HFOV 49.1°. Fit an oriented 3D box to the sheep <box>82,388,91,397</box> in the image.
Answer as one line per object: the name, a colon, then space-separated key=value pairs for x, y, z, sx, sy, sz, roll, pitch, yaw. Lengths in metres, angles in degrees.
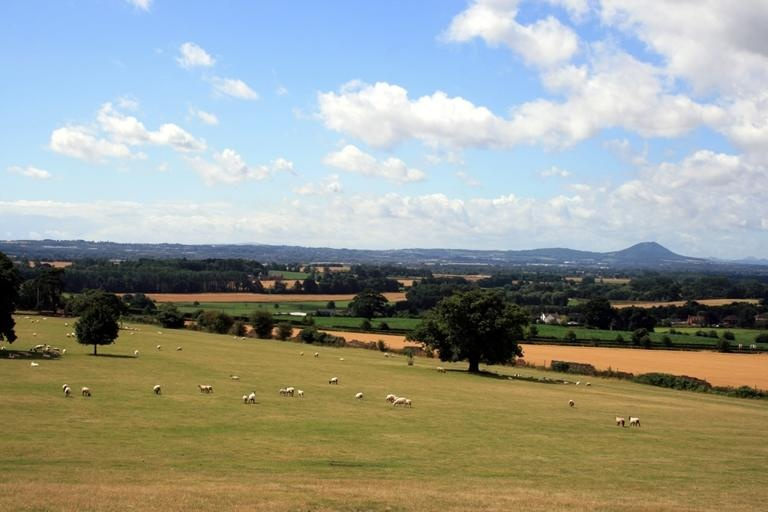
sheep: x=-31.065 y=14.006 z=87.394 sx=0.896 sy=0.780 sz=1.423 roll=2 pitch=3 yaw=-21
